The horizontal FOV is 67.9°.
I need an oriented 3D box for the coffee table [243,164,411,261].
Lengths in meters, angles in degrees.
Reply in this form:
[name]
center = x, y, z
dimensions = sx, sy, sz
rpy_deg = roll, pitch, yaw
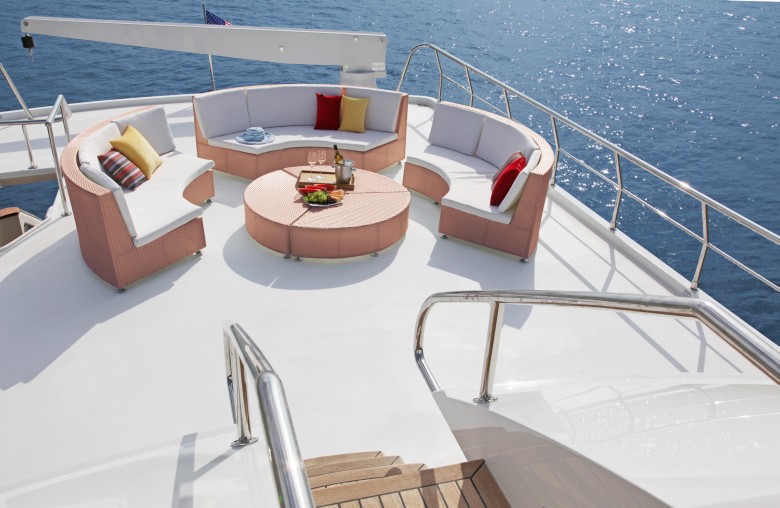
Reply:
[coffee table]
center = -0.724, -0.474, 6.671
dimensions = 1.912, 0.436, 1.235
rpy_deg = 3, 46, -3

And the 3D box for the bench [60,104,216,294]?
[bench]
center = -2.761, -0.539, 6.342
dimensions = 1.299, 1.114, 2.167
rpy_deg = -5, 46, -17

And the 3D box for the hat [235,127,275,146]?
[hat]
center = -1.805, -1.551, 7.719
dimensions = 0.499, 0.205, 0.421
rpy_deg = -6, 47, -12
